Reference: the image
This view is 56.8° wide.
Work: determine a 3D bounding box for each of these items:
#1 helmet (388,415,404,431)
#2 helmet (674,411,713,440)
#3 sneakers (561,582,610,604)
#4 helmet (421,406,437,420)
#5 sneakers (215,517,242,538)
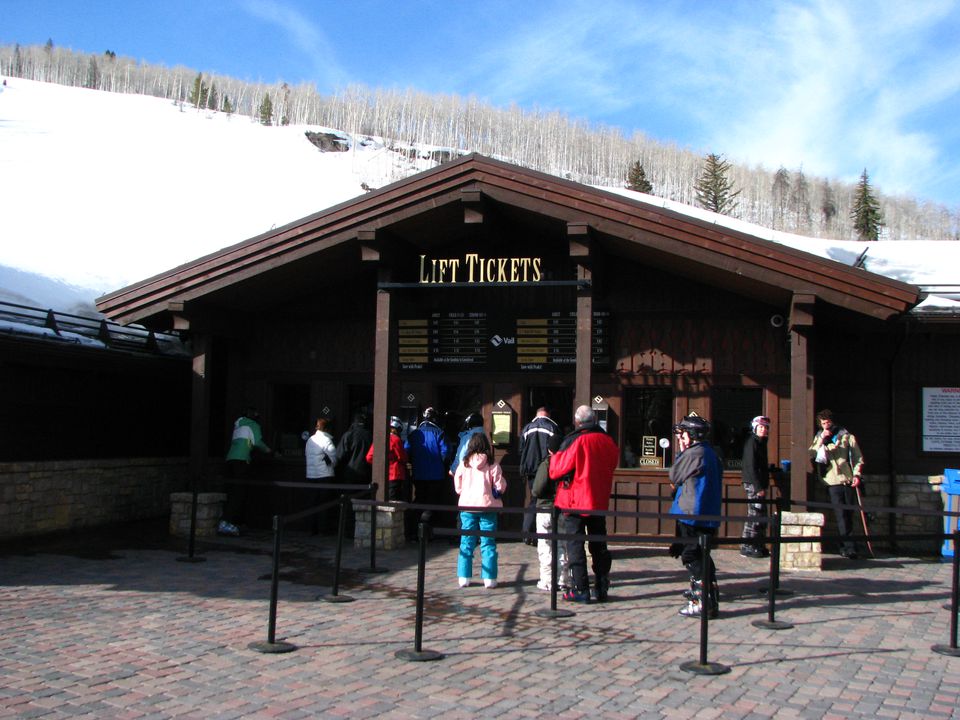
[{"bbox_3d":[-1.406,1.024,14.570,0.343,0.173,0.455,2,-8,-5],"label":"helmet"},{"bbox_3d":[2.552,0.777,10.715,0.401,0.356,0.301,5,-1,25],"label":"helmet"},{"bbox_3d":[1.320,2.866,11.054,0.637,0.267,0.212,1,0,10],"label":"sneakers"},{"bbox_3d":[-0.852,0.868,14.727,0.197,0.224,0.242,5,0,-13],"label":"helmet"},{"bbox_3d":[-4.237,2.819,14.919,0.354,0.143,0.220,10,-4,3],"label":"sneakers"}]
